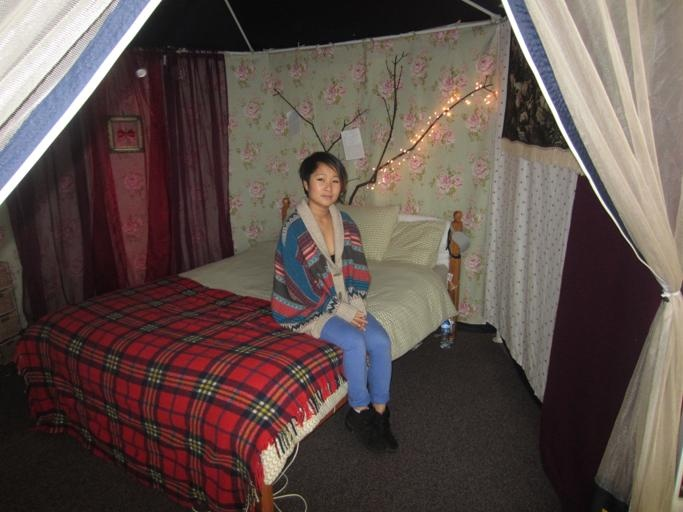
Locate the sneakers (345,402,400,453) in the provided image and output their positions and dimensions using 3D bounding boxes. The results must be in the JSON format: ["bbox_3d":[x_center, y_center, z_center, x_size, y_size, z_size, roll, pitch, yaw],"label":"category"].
[{"bbox_3d":[0.165,1.001,2.944,0.317,0.145,0.181,41,53,15],"label":"sneakers"}]

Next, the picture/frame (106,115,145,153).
[{"bbox_3d":[-1.804,-1.018,4.246,0.259,0.312,0.023,-6,3,-24],"label":"picture/frame"}]

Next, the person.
[{"bbox_3d":[-0.005,0.236,2.993,0.774,1.645,0.626,5,13,17],"label":"person"}]
